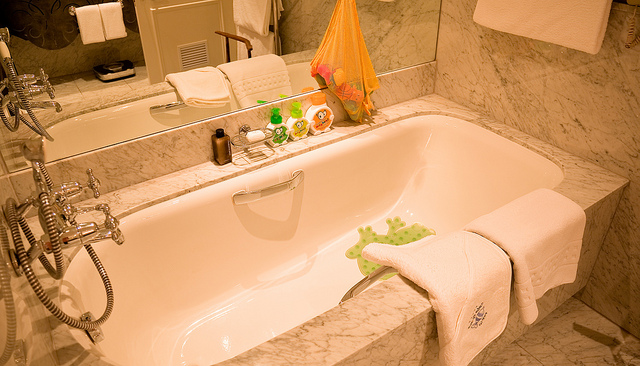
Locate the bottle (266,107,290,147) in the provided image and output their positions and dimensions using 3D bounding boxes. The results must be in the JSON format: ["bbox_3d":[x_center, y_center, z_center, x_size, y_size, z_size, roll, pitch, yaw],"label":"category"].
[{"bbox_3d":[-0.256,-0.333,2.350,0.178,0.243,0.093,-20,31,-31],"label":"bottle"}]

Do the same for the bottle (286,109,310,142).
[{"bbox_3d":[-0.135,-0.355,2.402,0.149,0.204,0.075,-19,40,-26],"label":"bottle"}]

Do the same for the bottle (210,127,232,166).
[{"bbox_3d":[-0.570,-0.216,2.261,0.117,0.185,0.110,-5,33,3],"label":"bottle"}]

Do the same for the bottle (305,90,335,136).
[{"bbox_3d":[-0.021,-0.447,2.470,0.122,0.275,0.207,26,38,35],"label":"bottle"}]
